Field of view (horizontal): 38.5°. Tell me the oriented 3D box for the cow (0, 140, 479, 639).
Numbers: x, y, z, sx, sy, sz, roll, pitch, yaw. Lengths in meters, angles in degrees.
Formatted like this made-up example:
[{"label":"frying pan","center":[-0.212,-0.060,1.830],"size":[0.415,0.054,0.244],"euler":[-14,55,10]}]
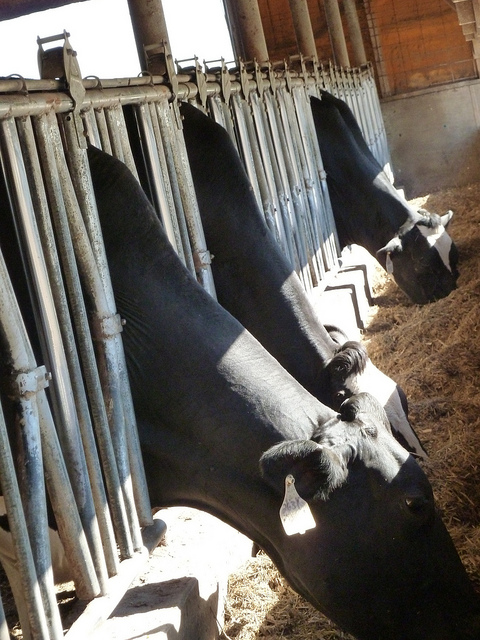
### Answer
[{"label":"cow","center":[0.007,0.153,2.112],"size":[0.528,1.555,0.831],"euler":[-28,6,-33]}]
